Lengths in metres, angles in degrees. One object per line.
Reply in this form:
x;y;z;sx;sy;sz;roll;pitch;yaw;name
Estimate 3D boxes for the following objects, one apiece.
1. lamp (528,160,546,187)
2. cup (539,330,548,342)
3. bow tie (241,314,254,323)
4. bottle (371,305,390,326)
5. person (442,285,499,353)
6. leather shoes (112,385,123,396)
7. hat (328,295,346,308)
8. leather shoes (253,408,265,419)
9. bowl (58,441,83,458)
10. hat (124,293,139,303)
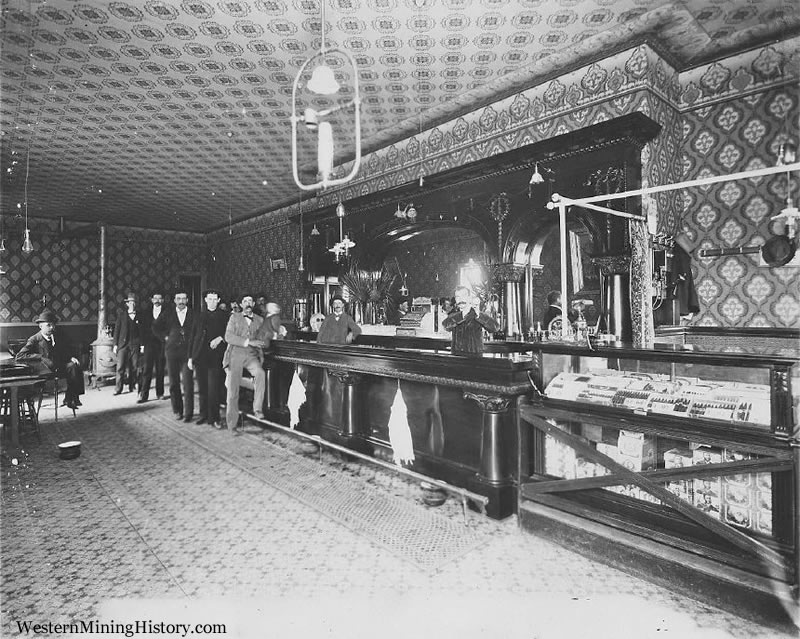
1.532;-1.666;7.134;0.185;0.237;0.210;-1;-1;4;lamp
1.361;0.146;5.930;0.091;0.115;0.098;1;4;0;cup
-1.973;-0.026;8.239;0.114;0.098;0.101;-5;14;-18;bow tie
-0.321;-0.067;10.370;0.243;0.289;0.476;5;-4;4;bottle
0.678;0.068;6.494;0.488;1.041;0.343;1;34;10;person
-4.892;1.201;10.979;0.129;0.206;0.190;-1;0;36;leather shoes
-0.926;-0.279;9.363;0.203;0.282;0.150;0;-4;-6;hat
-1.802;1.219;8.160;0.078;0.164;0.235;4;-12;-36;leather shoes
-3.703;1.410;7.091;0.184;0.157;0.197;1;2;0;bowl
-5.136;-0.429;12.106;0.224;0.132;0.241;2;3;18;hat
